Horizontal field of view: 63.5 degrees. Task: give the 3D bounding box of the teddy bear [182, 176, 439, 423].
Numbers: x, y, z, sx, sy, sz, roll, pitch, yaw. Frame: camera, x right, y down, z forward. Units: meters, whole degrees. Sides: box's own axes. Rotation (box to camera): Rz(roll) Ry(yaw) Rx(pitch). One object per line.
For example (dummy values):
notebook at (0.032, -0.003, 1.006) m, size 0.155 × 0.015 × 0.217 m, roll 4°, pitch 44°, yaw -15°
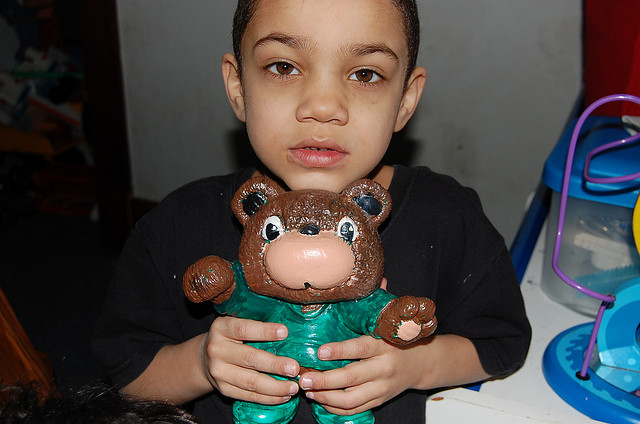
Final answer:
teddy bear at (-0.013, 0.225, 1.179) m, size 0.559 × 0.534 × 0.287 m, roll 3°, pitch 23°, yaw -1°
